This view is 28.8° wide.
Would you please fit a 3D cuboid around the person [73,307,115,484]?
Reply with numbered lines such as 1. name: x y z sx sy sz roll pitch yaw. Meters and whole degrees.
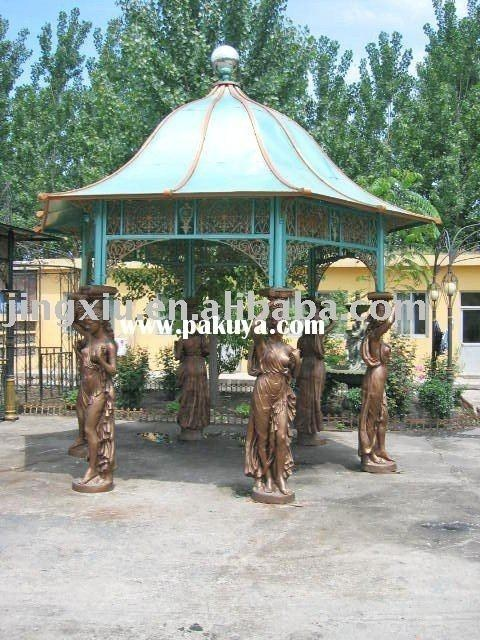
1. person: -1.377 0.777 8.804 0.391 1.552 0.741 0 4 -7

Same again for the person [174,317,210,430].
1. person: -0.625 0.793 11.835 0.439 1.302 0.410 0 4 -4

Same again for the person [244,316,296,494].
1. person: 0.284 0.786 8.370 0.471 1.572 0.494 1 4 2

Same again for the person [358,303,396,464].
1. person: 1.426 0.670 9.669 0.383 1.791 0.398 1 4 7

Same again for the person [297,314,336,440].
1. person: 0.888 0.766 11.425 0.456 1.503 0.422 2 4 14
